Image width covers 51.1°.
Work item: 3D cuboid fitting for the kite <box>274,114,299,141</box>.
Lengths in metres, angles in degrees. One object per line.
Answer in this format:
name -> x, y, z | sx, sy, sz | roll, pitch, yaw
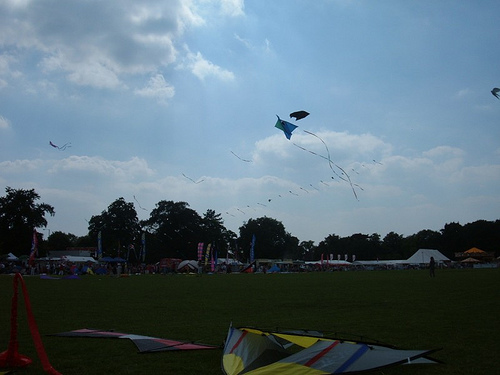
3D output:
kite -> 1.373, -2.278, 19.972 | 0.688, 1.051, 1.756 | -1, -10, 3
